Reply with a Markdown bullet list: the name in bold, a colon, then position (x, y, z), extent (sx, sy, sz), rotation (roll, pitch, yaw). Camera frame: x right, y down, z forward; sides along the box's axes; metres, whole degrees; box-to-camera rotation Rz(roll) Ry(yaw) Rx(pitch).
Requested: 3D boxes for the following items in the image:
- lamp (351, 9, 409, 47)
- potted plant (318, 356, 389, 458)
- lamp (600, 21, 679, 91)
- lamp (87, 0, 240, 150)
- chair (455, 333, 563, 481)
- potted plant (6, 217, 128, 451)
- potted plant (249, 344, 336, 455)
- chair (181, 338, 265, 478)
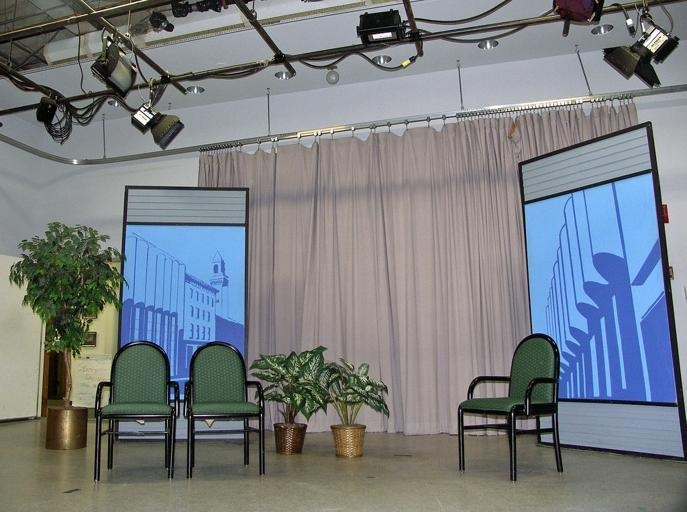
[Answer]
- **lamp**: position (0.370, -2.093, 4.895), extent (0.444, 0.302, 0.468), rotation (-2, 16, 7)
- **potted plant**: position (0.097, 1.610, 5.519), extent (0.660, 0.925, 0.701), rotation (-10, -20, 19)
- **lamp**: position (2.831, -2.000, 4.959), extent (0.588, 0.632, 0.474), rotation (2, -7, -25)
- **lamp**: position (-2.114, -1.706, 5.186), extent (0.718, 0.964, 1.320), rotation (-2, -7, 16)
- **chair**: position (1.499, 1.300, 4.696), extent (0.688, 1.291, 0.712), rotation (11, -14, -32)
- **potted plant**: position (-3.281, 0.855, 6.177), extent (1.138, 2.544, 1.604), rotation (3, -7, -32)
- **potted plant**: position (-0.492, 1.517, 5.609), extent (0.884, 1.257, 1.056), rotation (1, -11, -3)
- **chair**: position (-1.111, 1.393, 4.863), extent (0.774, 1.271, 0.857), rotation (-3, -14, 2)
